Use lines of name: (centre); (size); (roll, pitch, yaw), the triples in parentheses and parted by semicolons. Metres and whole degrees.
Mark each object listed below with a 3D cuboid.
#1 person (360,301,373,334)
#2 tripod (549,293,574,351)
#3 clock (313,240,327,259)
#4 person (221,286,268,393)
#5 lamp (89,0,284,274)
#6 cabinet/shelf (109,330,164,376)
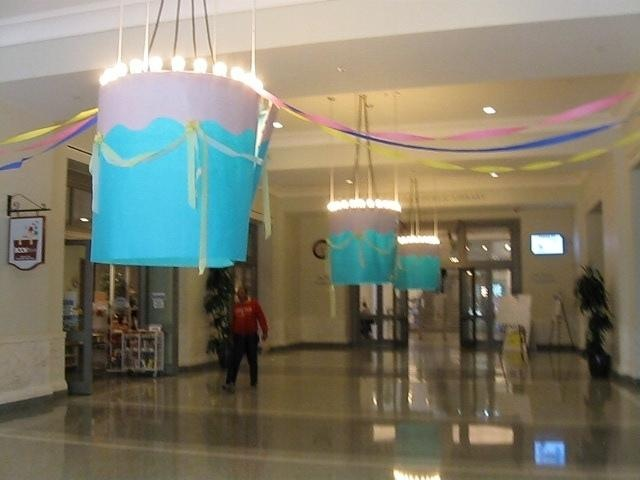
person: (1.504, 2.475, 16.271); (0.480, 1.067, 0.286); (-2, -4, 40)
tripod: (6.952, 2.345, 15.175); (0.739, 1.491, 0.498); (2, -4, -25)
clock: (-0.064, 0.323, 16.348); (0.126, 0.537, 0.538); (-2, -6, -42)
person: (-1.225, 1.617, 8.715); (0.673, 1.720, 0.834); (1, -3, -3)
lamp: (-0.858, -0.475, 3.316); (1.106, 1.328, 0.479); (2, -3, -19)
cabinet/shelf: (-3.536, 2.226, 10.201); (0.852, 0.762, 0.283); (-1, -11, 7)
